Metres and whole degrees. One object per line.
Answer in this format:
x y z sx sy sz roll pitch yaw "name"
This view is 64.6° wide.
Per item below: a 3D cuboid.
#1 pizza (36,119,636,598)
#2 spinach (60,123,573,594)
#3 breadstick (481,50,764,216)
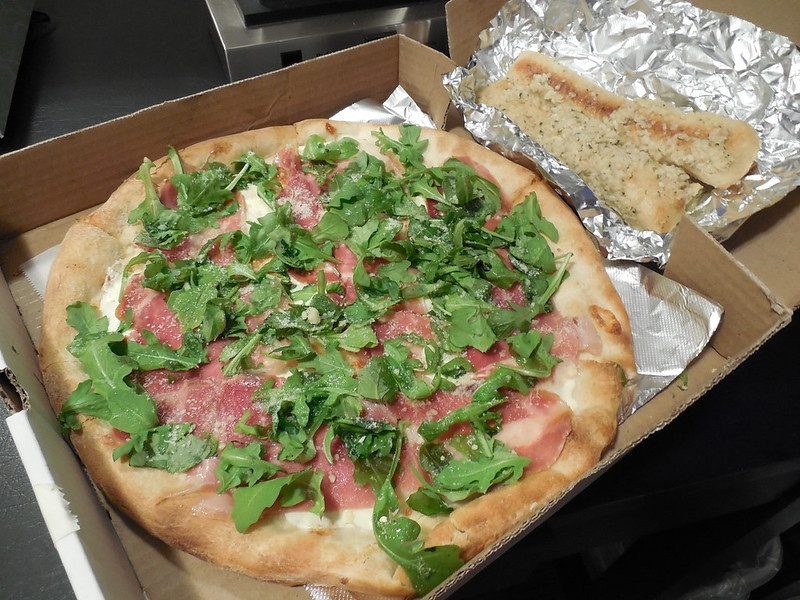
-0.261 0.279 2.425 1.693 0.912 1.986 -8 42 -12 "pizza"
-0.276 0.156 2.404 1.710 0.300 1.659 2 64 -4 "spinach"
1.197 -0.898 3.308 1.261 0.618 1.049 -13 36 -21 "breadstick"
